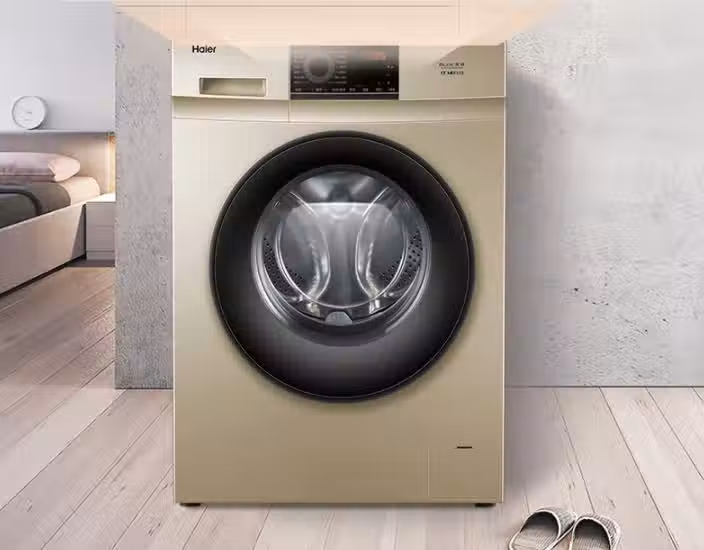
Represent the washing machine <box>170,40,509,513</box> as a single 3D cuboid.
[{"bbox_3d":[-0.050,-0.011,1.590,0.898,1.181,0.693,1,1,-1],"label":"washing machine"}]
